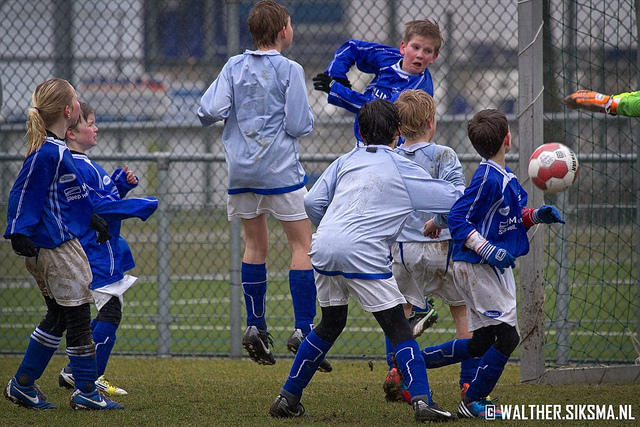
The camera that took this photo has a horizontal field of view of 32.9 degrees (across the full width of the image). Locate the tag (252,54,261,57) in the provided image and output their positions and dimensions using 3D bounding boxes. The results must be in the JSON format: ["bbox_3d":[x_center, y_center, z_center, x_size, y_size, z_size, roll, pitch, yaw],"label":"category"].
[{"bbox_3d":[-0.632,-1.561,10.756,0.076,0.025,0.020,1,2,0],"label":"tag"}]

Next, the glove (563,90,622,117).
[{"bbox_3d":[2.616,-1.066,10.452,0.409,0.194,0.244,5,12,13],"label":"glove"}]

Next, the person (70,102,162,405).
[{"bbox_3d":[-2.133,0.330,10.716,0.857,2.916,1.262,5,-2,-22],"label":"person"}]
